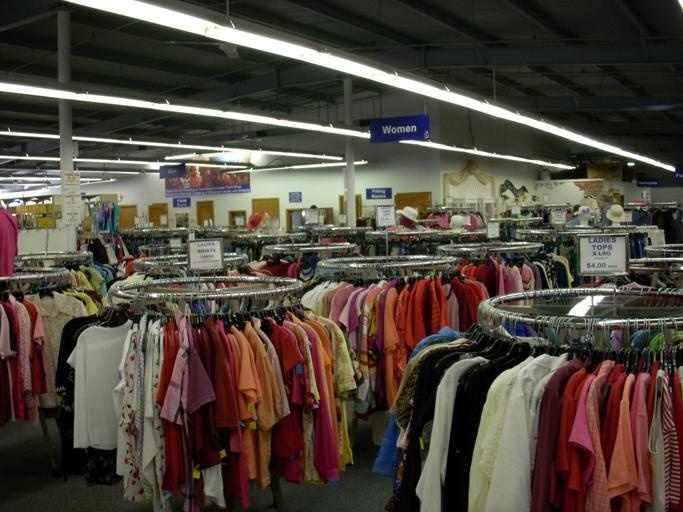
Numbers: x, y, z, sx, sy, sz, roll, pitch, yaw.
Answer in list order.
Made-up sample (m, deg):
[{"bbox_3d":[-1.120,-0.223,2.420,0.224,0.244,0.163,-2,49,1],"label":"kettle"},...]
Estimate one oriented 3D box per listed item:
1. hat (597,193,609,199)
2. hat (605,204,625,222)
[{"bbox_3d":[4.972,-1.128,10.788,0.215,0.118,0.127,-2,4,-3],"label":"hat"},{"bbox_3d":[4.923,-0.761,10.259,0.265,0.369,0.135,-4,-34,7],"label":"hat"}]
